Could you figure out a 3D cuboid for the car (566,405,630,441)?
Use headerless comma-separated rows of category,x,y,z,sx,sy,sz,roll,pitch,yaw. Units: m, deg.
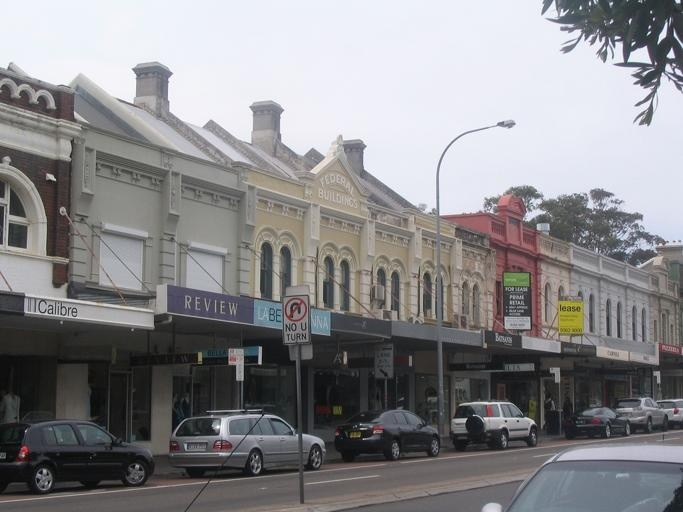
car,11.308,7.321,41.745,1.313,1.009,2.685,-5,-6,34

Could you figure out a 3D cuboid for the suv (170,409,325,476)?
suv,-2.323,4.976,25.922,1.699,1.412,4.100,-5,-7,38

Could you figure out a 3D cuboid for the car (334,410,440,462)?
car,1.645,5.621,30.926,1.505,1.245,3.413,-7,-9,36

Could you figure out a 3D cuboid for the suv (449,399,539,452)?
suv,5.687,6.160,35.610,1.611,1.463,3.192,-5,-5,36

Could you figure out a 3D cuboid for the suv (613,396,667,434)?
suv,14.068,7.323,44.605,1.380,1.403,3.118,-4,-4,31
